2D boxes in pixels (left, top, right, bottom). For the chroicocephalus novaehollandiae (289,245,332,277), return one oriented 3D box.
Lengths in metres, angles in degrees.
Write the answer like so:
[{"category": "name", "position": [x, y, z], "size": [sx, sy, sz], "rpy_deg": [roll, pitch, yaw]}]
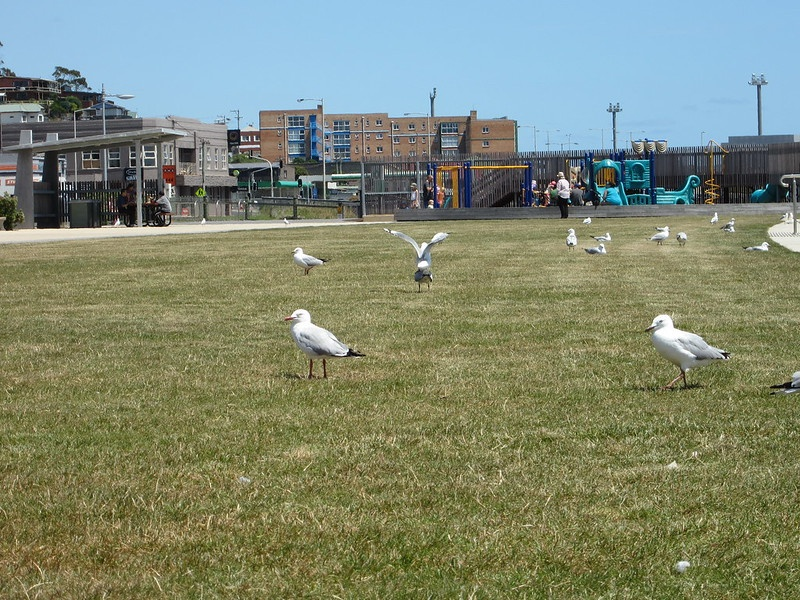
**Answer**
[{"category": "chroicocephalus novaehollandiae", "position": [-1.358, -0.602, 25.259], "size": [0.796, 0.591, 0.278], "rpy_deg": [4, -2, -37]}]
